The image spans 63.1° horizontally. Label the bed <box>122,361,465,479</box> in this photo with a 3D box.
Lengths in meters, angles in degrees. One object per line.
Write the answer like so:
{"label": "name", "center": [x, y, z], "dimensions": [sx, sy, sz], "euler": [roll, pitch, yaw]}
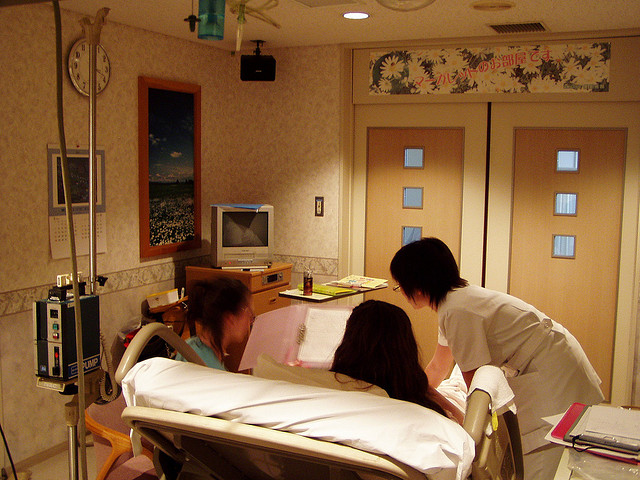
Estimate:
{"label": "bed", "center": [-0.035, 0.434, 1.329], "dimensions": [0.591, 0.168, 0.431], "euler": [14, -4, 10]}

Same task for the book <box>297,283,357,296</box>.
{"label": "book", "center": [0.081, 0.343, 3.513], "dimensions": [0.295, 0.028, 0.195], "euler": [7, 7, 35]}

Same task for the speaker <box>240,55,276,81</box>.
{"label": "speaker", "center": [-0.527, -1.460, 4.405], "dimensions": [0.333, 0.241, 0.186], "euler": [1, 17, 1]}

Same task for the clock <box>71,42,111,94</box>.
{"label": "clock", "center": [-1.571, -1.175, 3.560], "dimensions": [0.047, 0.390, 0.389], "euler": [11, 16, 16]}

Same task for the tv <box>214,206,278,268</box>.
{"label": "tv", "center": [-0.646, 0.012, 4.491], "dimensions": [0.542, 0.534, 0.441], "euler": [2, -11, -21]}
